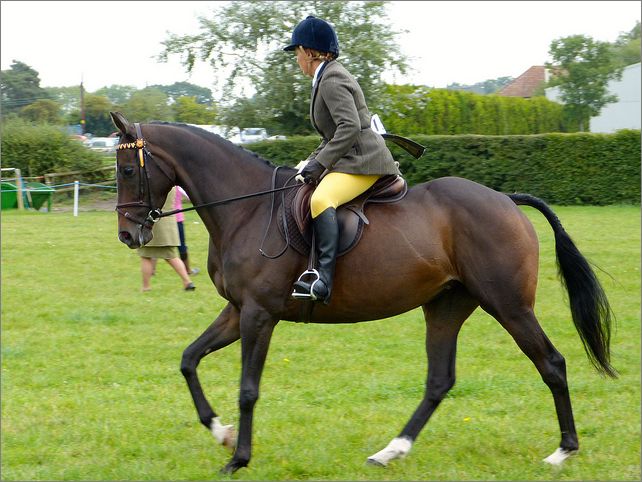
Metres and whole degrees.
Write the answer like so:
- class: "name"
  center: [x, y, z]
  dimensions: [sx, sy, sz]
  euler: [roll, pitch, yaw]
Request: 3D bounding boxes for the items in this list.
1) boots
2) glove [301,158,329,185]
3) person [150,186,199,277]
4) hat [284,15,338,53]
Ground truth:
- class: "boots"
  center: [-0.052, 0.122, 5.401]
  dimensions: [0.324, 0.789, 0.351]
  euler: [0, 9, 12]
- class: "glove"
  center: [-0.066, -0.572, 5.498]
  dimensions: [0.255, 0.143, 0.118]
  euler: [-24, -48, 29]
- class: "person"
  center: [-2.067, -0.060, 9.399]
  dimensions: [0.641, 1.497, 1.418]
  euler: [3, -21, -9]
- class: "hat"
  center: [-0.043, -1.789, 5.688]
  dimensions: [0.400, 0.239, 0.494]
  euler: [-25, 36, -34]
